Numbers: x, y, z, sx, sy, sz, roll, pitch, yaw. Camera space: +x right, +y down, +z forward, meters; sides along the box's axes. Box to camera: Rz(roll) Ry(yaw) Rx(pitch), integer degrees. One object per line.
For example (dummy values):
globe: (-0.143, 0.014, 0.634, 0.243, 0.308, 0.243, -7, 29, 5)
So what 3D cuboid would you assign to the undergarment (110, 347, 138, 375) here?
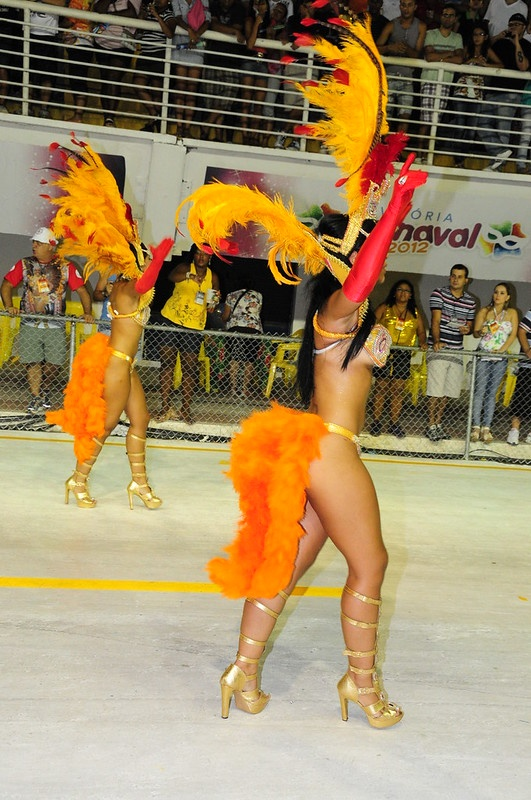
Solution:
undergarment: (-0.946, -0.252, 4.543, 0.158, 0.083, 0.124, 35, 28, 12)

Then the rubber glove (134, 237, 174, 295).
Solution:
rubber glove: (-0.671, -0.820, 4.254, 0.132, 0.372, 0.110, 13, 31, -11)

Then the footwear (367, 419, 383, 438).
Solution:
footwear: (1.236, 0.323, 7.886, 0.180, 0.259, 0.221, 4, -1, -4)

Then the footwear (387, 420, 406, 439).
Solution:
footwear: (1.460, 0.341, 7.737, 0.147, 0.190, 0.098, -19, -13, -1)

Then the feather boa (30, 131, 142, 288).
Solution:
feather boa: (-1.226, -1.344, 4.651, 0.550, 0.695, 1.200, 35, 28, -41)

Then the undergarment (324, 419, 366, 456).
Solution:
undergarment: (0.224, 0.110, 2.065, 0.104, 0.029, 0.103, 15, -19, 48)

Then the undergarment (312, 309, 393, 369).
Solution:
undergarment: (0.240, -0.196, 2.059, 0.250, 0.107, 0.167, 14, -14, -7)

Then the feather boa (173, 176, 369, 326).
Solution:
feather boa: (0.063, -0.459, 2.202, 0.575, 0.199, 0.329, 9, 21, -33)

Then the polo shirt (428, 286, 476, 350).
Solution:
polo shirt: (2.066, -0.904, 7.703, 0.494, 0.524, 0.344, 7, 4, 7)

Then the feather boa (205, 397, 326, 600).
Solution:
feather boa: (0.089, 0.301, 2.170, 0.434, 0.557, 0.256, 6, 4, 39)

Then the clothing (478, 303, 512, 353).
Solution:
clothing: (2.565, -0.789, 7.722, 0.321, 0.468, 0.169, 9, 1, 24)

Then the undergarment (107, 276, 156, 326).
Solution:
undergarment: (-0.891, -0.637, 4.571, 0.241, 0.277, 0.289, 4, -10, -2)

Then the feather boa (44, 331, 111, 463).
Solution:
feather boa: (-1.190, -0.012, 4.503, 0.392, 0.852, 0.205, 8, 4, 12)

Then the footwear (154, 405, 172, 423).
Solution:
footwear: (-1.109, 0.151, 7.388, 0.225, 0.123, 0.083, -24, 28, 3)

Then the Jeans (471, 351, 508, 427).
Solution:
Jeans: (2.406, -0.086, 7.532, 0.332, 0.974, 0.186, 9, -36, 17)

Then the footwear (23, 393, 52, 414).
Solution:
footwear: (-2.378, 0.046, 7.220, 0.223, 0.119, 0.294, -21, 13, -35)

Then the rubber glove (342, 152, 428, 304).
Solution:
rubber glove: (0.346, -0.504, 2.014, 0.189, 0.309, 0.229, 7, 4, 9)

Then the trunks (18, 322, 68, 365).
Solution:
trunks: (-2.261, -0.581, 7.055, 0.477, 0.416, 0.251, 1, 12, -6)
